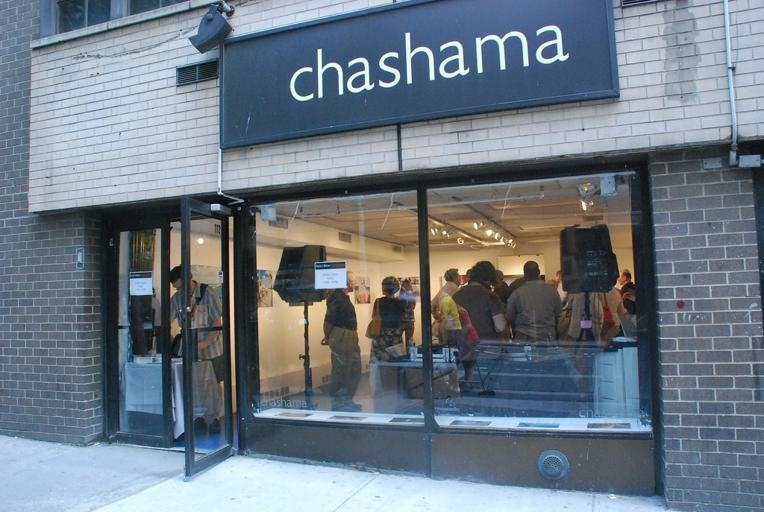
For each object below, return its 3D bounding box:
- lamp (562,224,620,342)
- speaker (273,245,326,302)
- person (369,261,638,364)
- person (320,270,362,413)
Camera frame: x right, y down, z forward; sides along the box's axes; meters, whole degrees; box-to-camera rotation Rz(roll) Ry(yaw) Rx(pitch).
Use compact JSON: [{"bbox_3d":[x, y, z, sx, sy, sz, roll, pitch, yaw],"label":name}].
[{"bbox_3d":[2.272,0.298,8.002,0.620,1.218,0.403,1,14,11],"label":"lamp"},{"bbox_3d":[-0.993,0.214,9.074,0.732,0.652,0.902,6,3,-17],"label":"speaker"},{"bbox_3d":[1.483,0.630,8.190,2.552,1.107,0.590,-1,-2,17],"label":"person"},{"bbox_3d":[-0.484,1.044,8.641,0.411,1.470,0.535,-4,14,-6],"label":"person"}]
